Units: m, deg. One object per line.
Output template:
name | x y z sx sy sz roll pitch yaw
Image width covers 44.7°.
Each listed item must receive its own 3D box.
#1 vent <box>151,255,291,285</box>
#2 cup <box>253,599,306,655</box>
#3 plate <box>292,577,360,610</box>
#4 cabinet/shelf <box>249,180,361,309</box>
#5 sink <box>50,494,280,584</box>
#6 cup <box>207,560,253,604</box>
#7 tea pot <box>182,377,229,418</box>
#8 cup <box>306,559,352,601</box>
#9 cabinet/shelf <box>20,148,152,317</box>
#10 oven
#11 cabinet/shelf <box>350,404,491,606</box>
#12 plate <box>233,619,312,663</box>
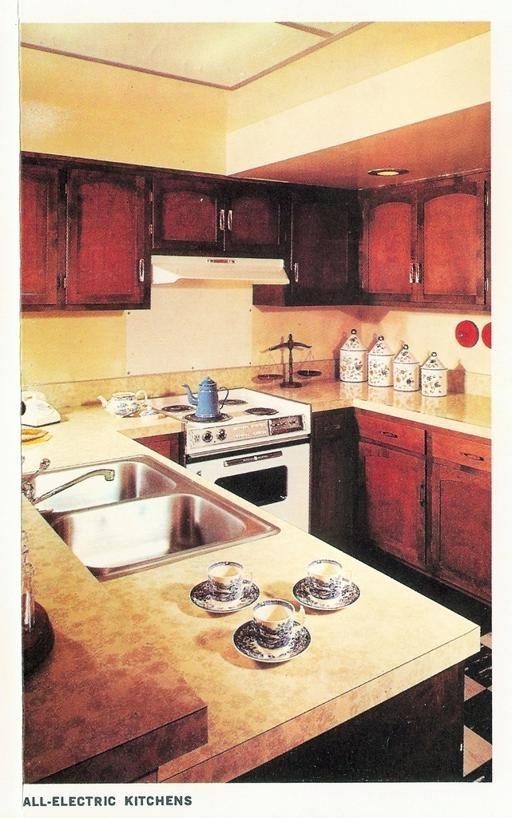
vent | -0.148 -0.701 3.152 0.811 0.169 0.228 -6 11 -44
cup | 0.035 0.328 0.925 0.079 0.062 0.063 -2 11 -3
plate | 0.124 0.327 1.095 0.118 0.021 0.111 2 8 1
cabinet/shelf | 0.268 -0.932 3.656 0.524 0.638 0.313 -6 8 -35
sink | -0.219 0.324 1.562 0.283 0.145 0.344 -5 8 -33
cup | -0.050 0.297 1.064 0.047 0.045 0.062 0 12 -3
tea pot | -0.235 -0.049 3.045 0.233 0.233 0.162 1 3 -3
cup | 0.129 0.297 1.088 0.065 0.053 0.052 -3 10 -13
cabinet/shelf | -0.833 -0.741 2.824 0.672 0.667 0.278 0 -1 -10
oven | -0.076 0.376 3.135 0.646 0.582 0.346 -6 14 -22
cabinet/shelf | 0.915 0.386 3.063 0.825 0.787 0.333 12 28 37
plate | 0.022 0.345 0.925 0.115 0.012 0.117 3 8 5
